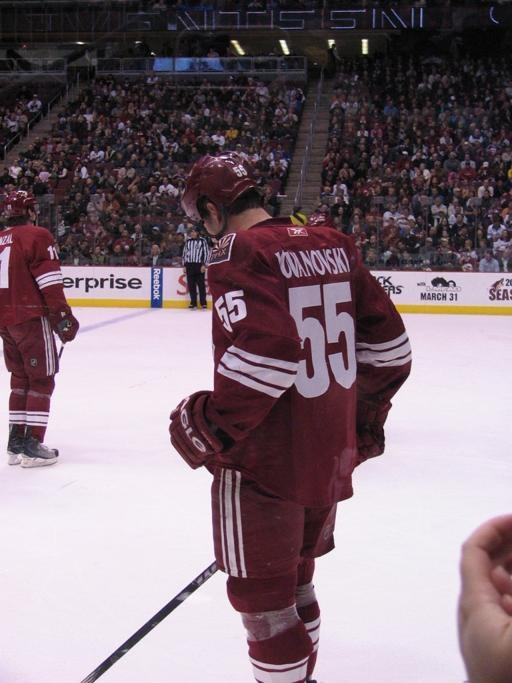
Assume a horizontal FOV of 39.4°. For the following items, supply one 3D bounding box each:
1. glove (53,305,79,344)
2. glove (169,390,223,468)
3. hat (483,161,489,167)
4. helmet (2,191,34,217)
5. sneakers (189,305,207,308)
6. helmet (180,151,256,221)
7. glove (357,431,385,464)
[{"bbox_3d":[-1.215,-0.108,4.517,0.185,0.208,0.088,-21,23,-25],"label":"glove"},{"bbox_3d":[-0.127,0.210,1.613,0.089,0.190,0.139,-7,13,-26],"label":"glove"},{"bbox_3d":[4.792,-3.693,14.936,0.130,0.085,0.174,-5,-13,11],"label":"hat"},{"bbox_3d":[-1.491,-0.867,4.509,0.182,0.160,0.233,-4,11,-16],"label":"helmet"},{"bbox_3d":[-1.092,-0.647,13.507,0.316,0.106,0.097,2,-6,-15],"label":"sneakers"},{"bbox_3d":[-0.089,-0.402,1.852,0.204,0.157,0.144,4,13,24],"label":"helmet"},{"bbox_3d":[0.316,0.299,2.005,0.102,0.078,0.022,-1,10,-26],"label":"glove"}]
